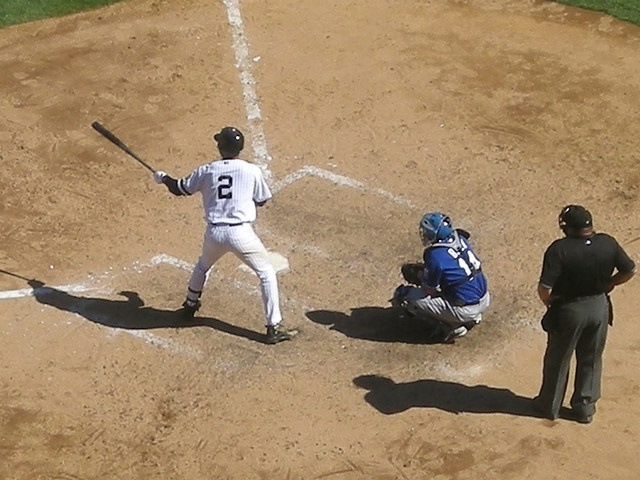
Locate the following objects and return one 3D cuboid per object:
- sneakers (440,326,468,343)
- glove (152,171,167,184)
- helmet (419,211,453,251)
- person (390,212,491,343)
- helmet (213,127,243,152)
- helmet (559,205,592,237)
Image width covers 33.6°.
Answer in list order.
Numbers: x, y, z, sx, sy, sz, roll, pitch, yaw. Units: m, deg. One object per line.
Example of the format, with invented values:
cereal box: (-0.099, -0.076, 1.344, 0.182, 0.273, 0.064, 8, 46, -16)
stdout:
sneakers: (2.009, 1.407, 15.969, 0.377, 0.179, 0.200, -28, 42, 24)
glove: (-2.370, -0.902, 15.724, 0.181, 0.221, 0.168, -2, 39, -19)
helmet: (1.659, -0.108, 15.464, 0.425, 0.474, 0.514, -23, 51, -28)
person: (1.803, 0.654, 16.009, 1.132, 1.439, 1.084, -37, 49, -19)
helmet: (-1.353, -1.463, 15.504, 0.309, 0.226, 0.412, -26, 67, -42)
helmet: (3.530, -0.253, 14.742, 0.496, 0.689, 0.386, 17, 93, 11)
